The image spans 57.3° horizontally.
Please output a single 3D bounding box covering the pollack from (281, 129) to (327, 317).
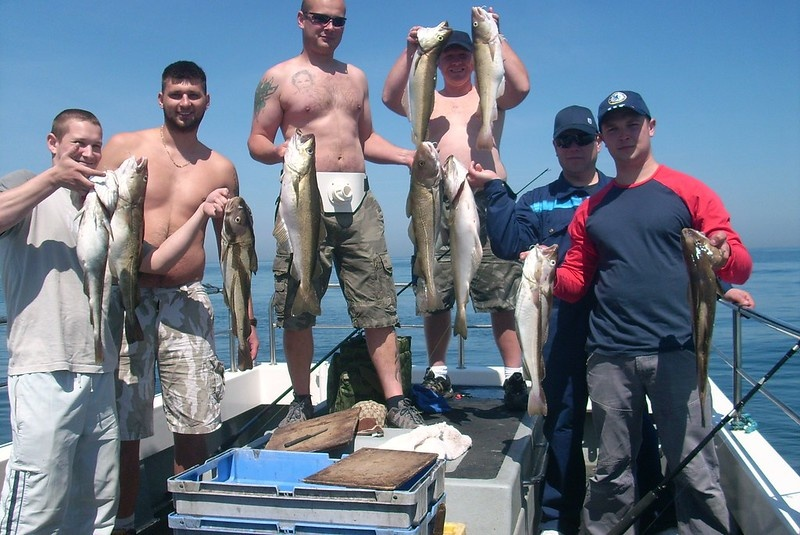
[{"bbox_3d":[-0.806,-0.377,5.581,0.376,1.258,0.371,13,30,22],"label":"pollack"}]

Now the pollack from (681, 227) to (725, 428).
[{"bbox_3d":[1.944,0.347,4.767,0.243,1.350,0.341,0,-10,-5],"label":"pollack"}]

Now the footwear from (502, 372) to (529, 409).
[{"bbox_3d":[1.028,1.107,6.585,0.188,0.313,0.122,0,-7,-4],"label":"footwear"}]

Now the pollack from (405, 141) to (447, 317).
[{"bbox_3d":[0.164,-0.303,5.439,0.300,1.174,0.307,5,-3,-3],"label":"pollack"}]

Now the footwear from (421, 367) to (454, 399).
[{"bbox_3d":[0.347,1.118,7.036,0.142,0.208,0.443,-8,-19,22],"label":"footwear"}]

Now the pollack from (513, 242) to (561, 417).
[{"bbox_3d":[0.967,0.427,5.272,0.262,1.291,0.509,8,-8,-39],"label":"pollack"}]

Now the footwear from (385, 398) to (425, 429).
[{"bbox_3d":[0.041,1.162,5.918,0.246,0.233,0.290,-2,-2,-18],"label":"footwear"}]

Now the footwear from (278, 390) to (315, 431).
[{"bbox_3d":[-0.880,1.169,6.014,0.132,0.229,0.384,-13,-3,30],"label":"footwear"}]

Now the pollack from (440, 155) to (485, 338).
[{"bbox_3d":[0.465,-0.154,5.419,0.247,1.352,0.442,-3,-2,7],"label":"pollack"}]
